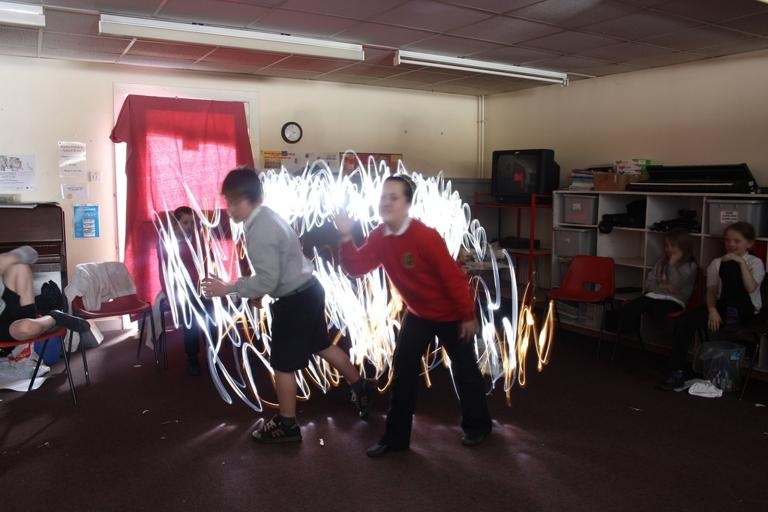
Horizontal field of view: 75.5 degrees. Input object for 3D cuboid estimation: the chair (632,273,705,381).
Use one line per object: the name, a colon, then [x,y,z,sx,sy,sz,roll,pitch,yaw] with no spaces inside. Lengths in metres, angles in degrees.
chair: [2.865,0.613,5.025,0.588,1.044,1.320,7,15,31]

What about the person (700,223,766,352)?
person: [3.217,0.193,4.545,0.455,0.938,0.547,7,14,31]

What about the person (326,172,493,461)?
person: [0.222,0.435,3.486,1.087,1.961,0.414,2,12,11]

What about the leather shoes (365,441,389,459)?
leather shoes: [-0.048,1.391,3.568,0.164,0.066,0.081,0,3,-41]

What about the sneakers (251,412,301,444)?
sneakers: [-0.766,1.281,3.739,0.398,0.233,0.174,2,-1,-2]

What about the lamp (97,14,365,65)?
lamp: [-1.422,-2.139,4.913,2.411,0.238,0.133,-6,14,-24]

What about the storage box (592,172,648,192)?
storage box: [2.757,-0.870,5.961,0.316,0.167,0.326,4,6,40]

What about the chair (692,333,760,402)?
chair: [3.207,0.977,4.661,0.645,0.475,0.495,-2,5,-25]

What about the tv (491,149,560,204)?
tv: [1.906,-1.141,7.092,0.748,0.905,1.041,-1,2,-39]

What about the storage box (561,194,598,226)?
storage box: [2.543,-0.536,6.394,0.349,0.469,0.456,1,0,-33]

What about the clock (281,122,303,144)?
clock: [-1.268,-1.693,6.888,0.279,0.282,0.063,-31,20,-25]

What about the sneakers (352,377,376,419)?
sneakers: [-0.160,1.140,3.991,0.171,0.423,0.143,-11,37,-13]
